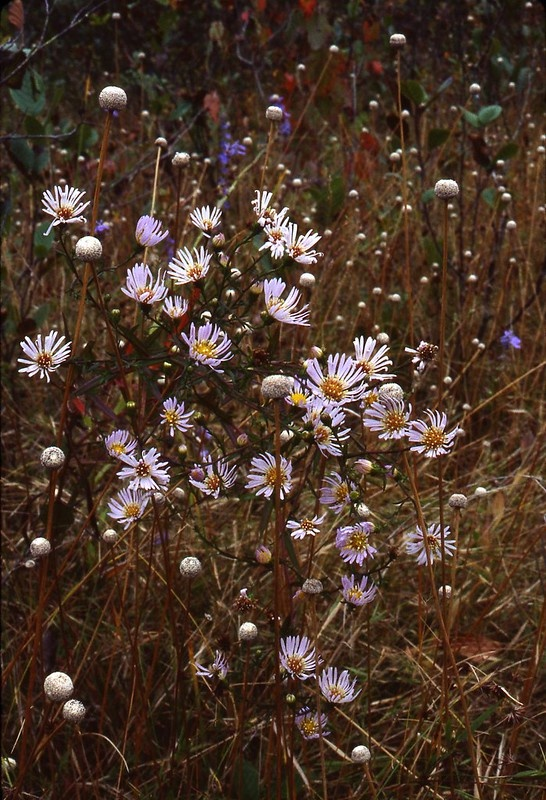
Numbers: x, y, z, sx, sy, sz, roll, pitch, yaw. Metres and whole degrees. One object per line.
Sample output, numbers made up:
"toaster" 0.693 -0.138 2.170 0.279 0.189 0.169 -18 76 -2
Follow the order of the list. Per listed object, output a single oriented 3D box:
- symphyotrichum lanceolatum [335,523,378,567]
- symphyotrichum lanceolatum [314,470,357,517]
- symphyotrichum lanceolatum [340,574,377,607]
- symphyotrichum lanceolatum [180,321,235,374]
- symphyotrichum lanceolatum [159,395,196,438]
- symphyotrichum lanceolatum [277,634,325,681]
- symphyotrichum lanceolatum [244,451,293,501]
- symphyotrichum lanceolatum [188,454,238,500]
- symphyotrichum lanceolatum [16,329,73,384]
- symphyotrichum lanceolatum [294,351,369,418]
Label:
"symphyotrichum lanceolatum" 0.112 0.190 1.333 0.058 0.063 0.024 15 1 20
"symphyotrichum lanceolatum" 0.090 0.124 1.354 0.027 0.062 0.058 11 17 -46
"symphyotrichum lanceolatum" 0.120 0.260 1.349 0.045 0.025 0.047 22 42 26
"symphyotrichum lanceolatum" -0.086 -0.075 1.289 0.063 0.066 0.028 -42 3 7
"symphyotrichum lanceolatum" -0.138 0.024 1.370 0.054 0.054 0.024 -38 3 -40
"symphyotrichum lanceolatum" 0.041 0.340 1.321 0.061 0.066 0.030 -13 27 37
"symphyotrichum lanceolatum" -0.009 0.102 1.290 0.058 0.063 0.024 20 19 36
"symphyotrichum lanceolatum" -0.080 0.106 1.373 0.060 0.030 0.061 -30 19 -20
"symphyotrichum lanceolatum" -0.314 -0.062 1.343 0.078 0.078 0.032 -6 57 12
"symphyotrichum lanceolatum" 0.078 -0.032 1.309 0.086 0.087 0.037 -3 73 10
